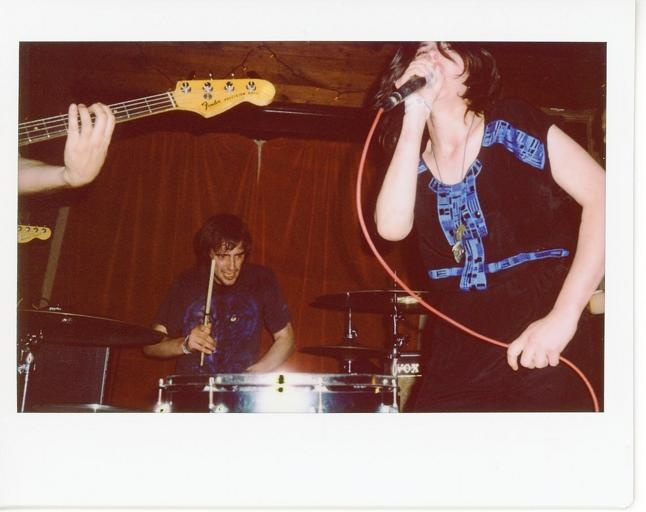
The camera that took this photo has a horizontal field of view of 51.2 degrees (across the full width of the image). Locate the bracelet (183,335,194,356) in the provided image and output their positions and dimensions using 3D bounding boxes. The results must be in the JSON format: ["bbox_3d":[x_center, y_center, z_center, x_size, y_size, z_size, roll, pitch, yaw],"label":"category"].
[{"bbox_3d":[-0.506,0.330,2.511,0.038,0.058,0.021,1,-4,-9],"label":"bracelet"}]

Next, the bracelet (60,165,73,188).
[{"bbox_3d":[-0.968,-0.298,2.539,0.044,0.066,0.017,1,3,-3],"label":"bracelet"}]
